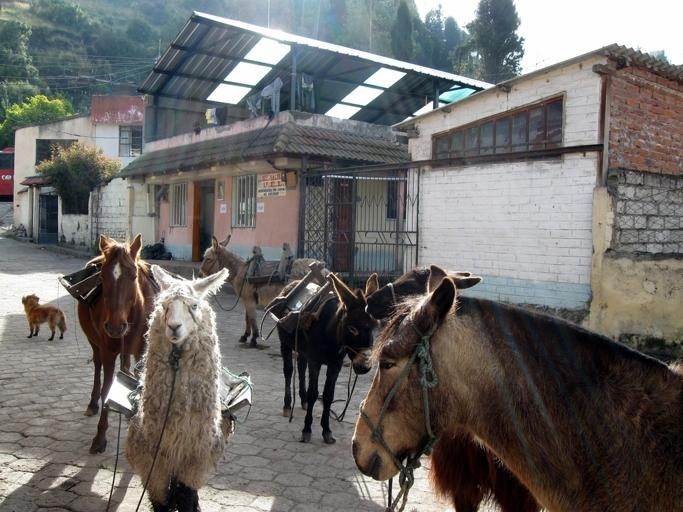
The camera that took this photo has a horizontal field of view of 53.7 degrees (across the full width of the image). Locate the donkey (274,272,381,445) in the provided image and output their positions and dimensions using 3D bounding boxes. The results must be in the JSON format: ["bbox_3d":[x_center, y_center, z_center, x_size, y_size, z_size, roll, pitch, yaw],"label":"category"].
[{"bbox_3d":[-0.313,1.286,8.877,0.713,2.312,2.676,-1,4,-25],"label":"donkey"}]

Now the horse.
[{"bbox_3d":[-2.626,0.989,7.885,0.801,2.234,2.496,0,2,-20],"label":"horse"}]
